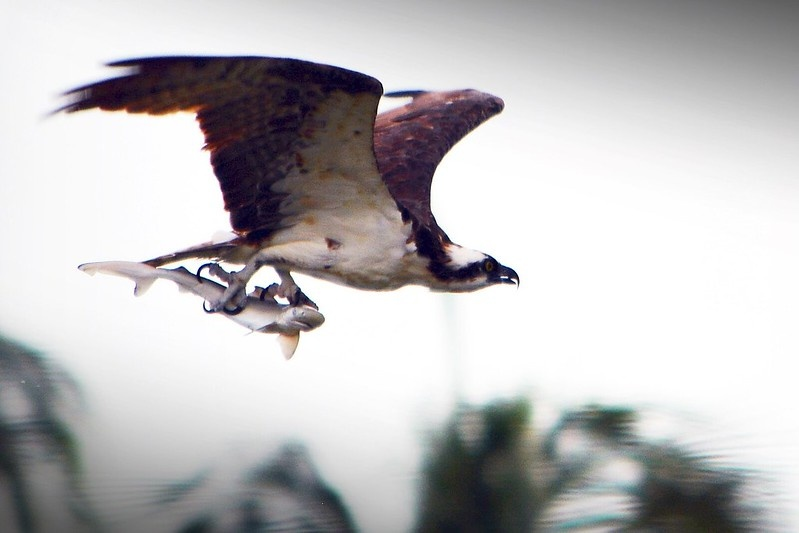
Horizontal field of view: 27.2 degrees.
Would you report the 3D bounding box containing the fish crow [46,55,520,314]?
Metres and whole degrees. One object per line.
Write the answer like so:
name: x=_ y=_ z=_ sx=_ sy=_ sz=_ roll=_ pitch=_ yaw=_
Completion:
fish crow: x=-0.413 y=-0.335 z=6.251 sx=1.625 sy=0.985 sz=0.776 roll=-2 pitch=18 yaw=-13
